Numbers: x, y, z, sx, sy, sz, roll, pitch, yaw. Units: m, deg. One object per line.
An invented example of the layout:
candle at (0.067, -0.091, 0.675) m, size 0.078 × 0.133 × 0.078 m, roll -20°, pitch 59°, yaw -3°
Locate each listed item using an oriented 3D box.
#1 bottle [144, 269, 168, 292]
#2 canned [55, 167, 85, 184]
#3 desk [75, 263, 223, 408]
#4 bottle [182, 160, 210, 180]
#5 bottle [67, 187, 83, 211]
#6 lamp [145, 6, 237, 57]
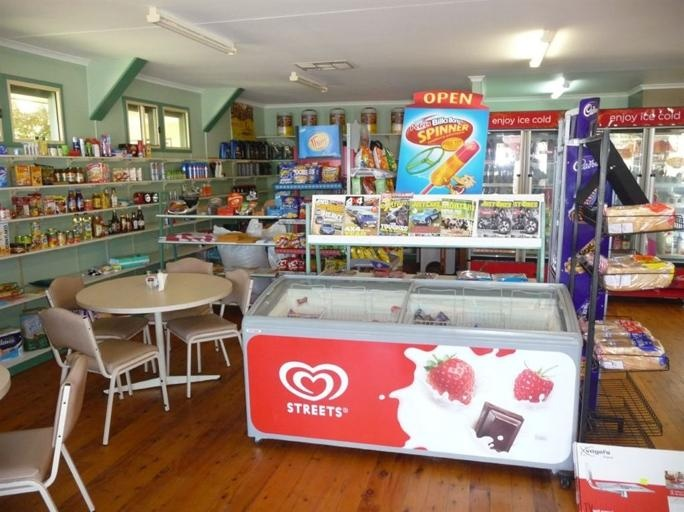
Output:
bottle at (-1.626, 0.215, 4.141) m, size 0.169 × 0.100 × 0.234 m, roll 0°, pitch 12°, yaw -23°
canned at (-2.991, -0.874, 5.235) m, size 0.179 × 0.090 × 0.231 m, roll 0°, pitch 2°, yaw -8°
desk at (-1.650, 0.729, 4.125) m, size 1.013 × 0.703 × 0.997 m, roll -6°, pitch 15°, yaw -23°
bottle at (-2.184, -1.261, 7.066) m, size 0.311 × 0.191 × 0.310 m, roll 0°, pitch 8°, yaw 0°
bottle at (-2.966, -0.604, 5.283) m, size 0.140 × 0.231 × 0.257 m, roll -8°, pitch 13°, yaw -15°
lamp at (-1.304, -1.975, 4.165) m, size 0.192 × 0.209 × 1.035 m, roll 0°, pitch 13°, yaw 19°
